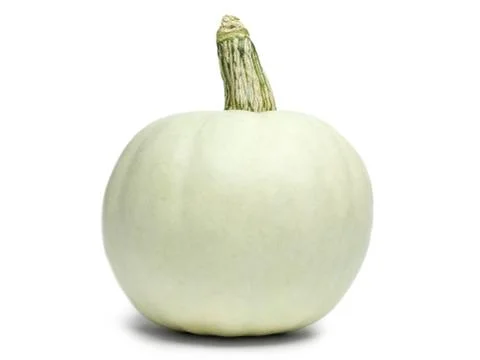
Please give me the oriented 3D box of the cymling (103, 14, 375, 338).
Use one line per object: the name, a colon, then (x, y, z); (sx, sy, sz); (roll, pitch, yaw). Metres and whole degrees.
cymling: (-0.027, -0.070, 4.889); (1.837, 1.359, 2.142); (2, -79, 1)
